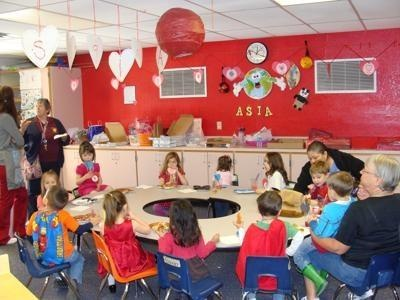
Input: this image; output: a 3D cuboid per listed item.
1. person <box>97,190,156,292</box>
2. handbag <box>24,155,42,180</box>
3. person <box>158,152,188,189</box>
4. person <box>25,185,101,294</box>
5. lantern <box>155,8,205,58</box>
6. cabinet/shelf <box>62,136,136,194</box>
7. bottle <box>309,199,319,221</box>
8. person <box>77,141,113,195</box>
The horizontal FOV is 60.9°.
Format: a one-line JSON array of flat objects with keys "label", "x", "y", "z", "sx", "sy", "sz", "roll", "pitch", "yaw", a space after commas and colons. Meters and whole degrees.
[{"label": "person", "x": -0.694, "y": 0.795, "z": 3.161, "sx": 0.492, "sy": 0.831, "sz": 0.539, "roll": 1, "pitch": 0, "yaw": 21}, {"label": "handbag", "x": -2.403, "y": 0.253, "z": 4.930, "sx": 0.275, "sy": 0.411, "sz": 0.177, "roll": 5, "pitch": 12, "yaw": 27}, {"label": "person", "x": -0.417, "y": 0.449, "z": 4.949, "sx": 0.360, "sy": 0.911, "sz": 0.286, "roll": 3, "pitch": 26, "yaw": -2}, {"label": "person", "x": -1.357, "y": 0.919, "z": 3.350, "sx": 0.627, "sy": 1.093, "sz": 0.552, "roll": -2, "pitch": 11, "yaw": -21}, {"label": "lantern", "x": -0.181, "y": -1.137, "z": 3.539, "sx": 0.425, "sy": 0.515, "sz": 0.447, "roll": -10, "pitch": 8, "yaw": 1}, {"label": "cabinet/shelf", "x": -1.741, "y": 0.254, "z": 6.148, "sx": 1.024, "sy": 0.996, "sz": 0.351, "roll": 1, "pitch": 1, "yaw": 16}, {"label": "bottle", "x": 1.037, "y": 0.556, "z": 3.099, "sx": 0.145, "sy": 0.165, "sz": 0.109, "roll": 1, "pitch": 5, "yaw": 16}, {"label": "person", "x": -1.493, "y": 0.369, "z": 4.756, "sx": 0.474, "sy": 0.927, "sz": 0.406, "roll": 3, "pitch": 9, "yaw": 45}]
